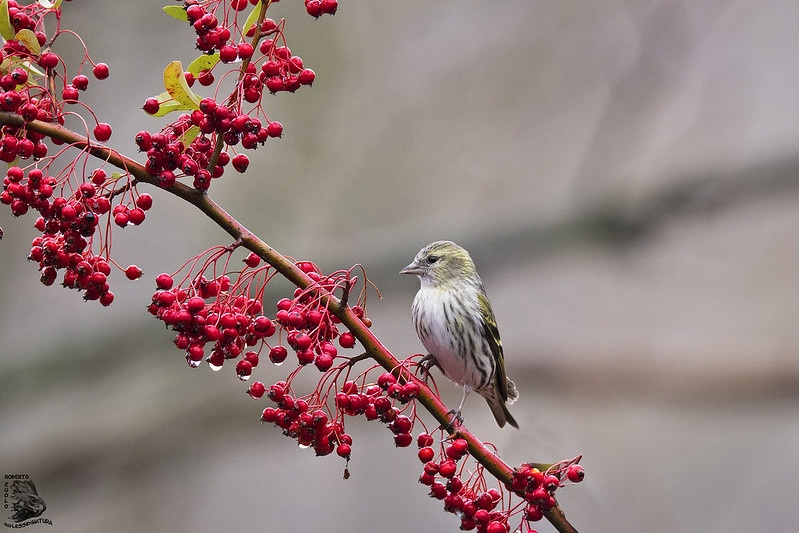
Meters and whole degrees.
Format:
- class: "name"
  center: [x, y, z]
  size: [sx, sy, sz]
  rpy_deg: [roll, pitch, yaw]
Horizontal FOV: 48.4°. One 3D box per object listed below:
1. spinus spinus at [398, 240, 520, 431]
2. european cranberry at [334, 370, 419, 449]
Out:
- class: "spinus spinus"
  center: [0.447, 0.400, 6.274]
  size: [0.551, 0.927, 1.702]
  rpy_deg: [2, -74, 34]
- class: "european cranberry"
  center: [-0.079, 0.777, 4.816]
  size: [0.164, 0.401, 0.412]
  rpy_deg: [-49, -65, -26]
